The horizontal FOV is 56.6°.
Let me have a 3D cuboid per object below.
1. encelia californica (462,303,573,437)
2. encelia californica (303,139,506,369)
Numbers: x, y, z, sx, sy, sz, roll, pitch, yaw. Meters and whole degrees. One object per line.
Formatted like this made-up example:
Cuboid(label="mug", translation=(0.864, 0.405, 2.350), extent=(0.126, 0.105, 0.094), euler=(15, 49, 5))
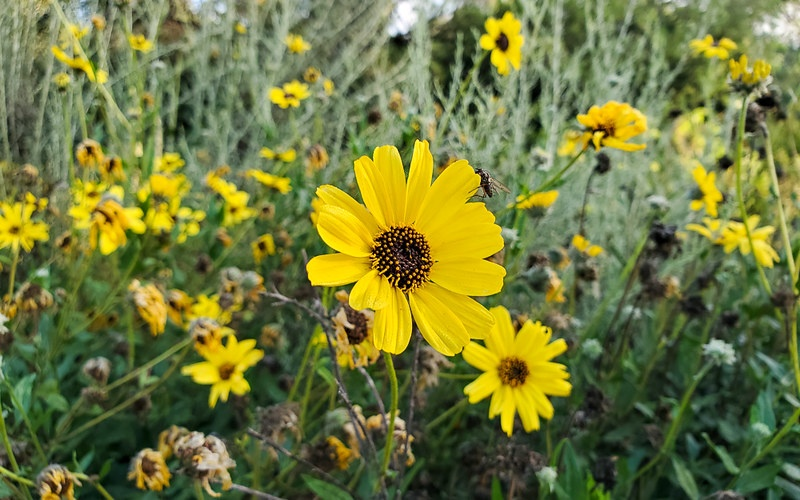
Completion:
Cuboid(label="encelia californica", translation=(0.415, 0.419, 2.629), extent=(0.408, 0.419, 0.141), euler=(38, -7, 3))
Cuboid(label="encelia californica", translation=(0.017, -0.004, 2.256), extent=(0.599, 0.568, 0.338), euler=(-2, 27, -9))
